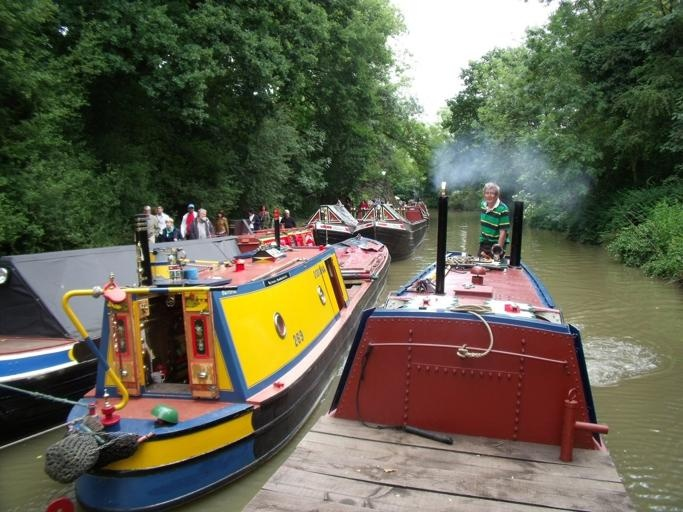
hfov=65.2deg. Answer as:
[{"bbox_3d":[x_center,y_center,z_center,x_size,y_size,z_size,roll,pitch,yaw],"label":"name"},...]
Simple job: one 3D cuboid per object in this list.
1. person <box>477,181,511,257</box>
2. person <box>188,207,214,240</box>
[{"bbox_3d":[2.974,-0.727,10.343,0.586,1.551,2.752,1,12,16],"label":"person"},{"bbox_3d":[-4.490,-1.022,16.815,0.814,0.969,1.705,-5,12,-15],"label":"person"}]
